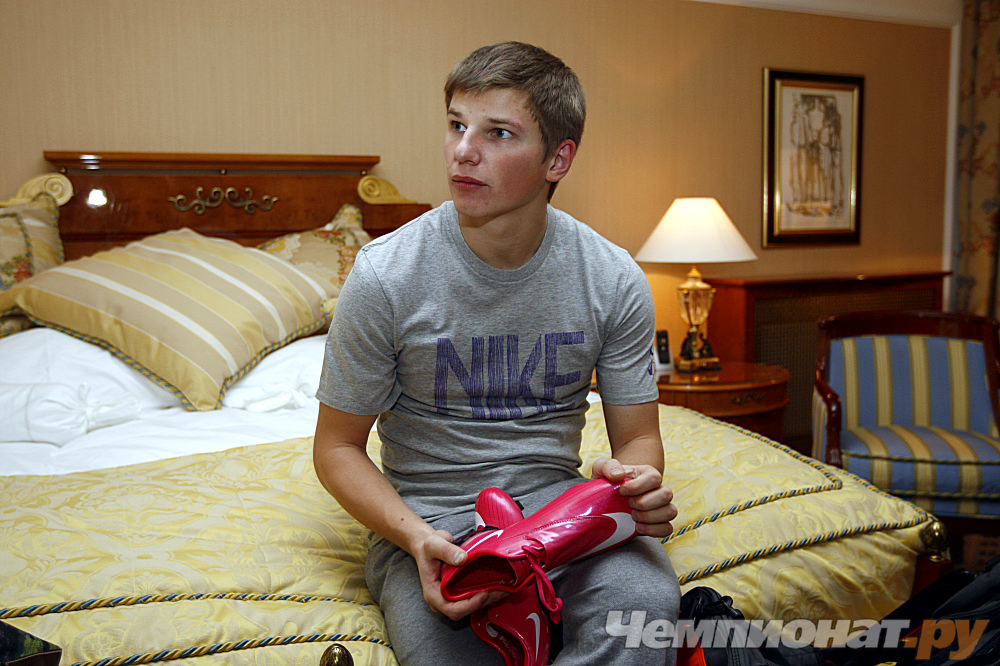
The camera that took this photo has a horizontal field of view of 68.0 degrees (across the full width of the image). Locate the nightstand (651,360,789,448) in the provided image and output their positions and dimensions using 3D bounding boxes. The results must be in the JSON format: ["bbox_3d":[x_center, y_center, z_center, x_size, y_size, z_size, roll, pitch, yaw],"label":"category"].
[{"bbox_3d":[1.063,0.289,3.516,0.436,0.310,0.447,-1,7,-16],"label":"nightstand"}]

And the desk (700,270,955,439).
[{"bbox_3d":[1.997,0.136,4.402,1.152,0.989,0.334,-5,12,-1],"label":"desk"}]

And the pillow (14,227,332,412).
[{"bbox_3d":[-1.200,-0.125,2.655,0.735,0.178,0.763,35,26,7],"label":"pillow"}]
